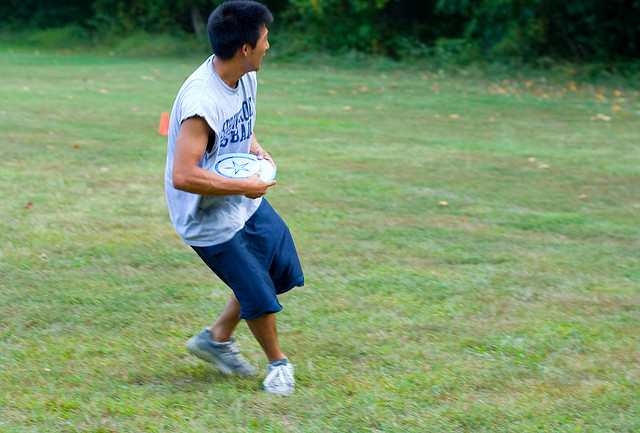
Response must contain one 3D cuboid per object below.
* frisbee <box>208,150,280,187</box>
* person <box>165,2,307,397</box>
[{"bbox_3d":[-0.528,-0.341,4.524,0.458,0.199,0.443,2,15,-7],"label":"frisbee"},{"bbox_3d":[-0.558,-0.116,4.535,0.910,2.667,0.970,-2,22,-25],"label":"person"}]
